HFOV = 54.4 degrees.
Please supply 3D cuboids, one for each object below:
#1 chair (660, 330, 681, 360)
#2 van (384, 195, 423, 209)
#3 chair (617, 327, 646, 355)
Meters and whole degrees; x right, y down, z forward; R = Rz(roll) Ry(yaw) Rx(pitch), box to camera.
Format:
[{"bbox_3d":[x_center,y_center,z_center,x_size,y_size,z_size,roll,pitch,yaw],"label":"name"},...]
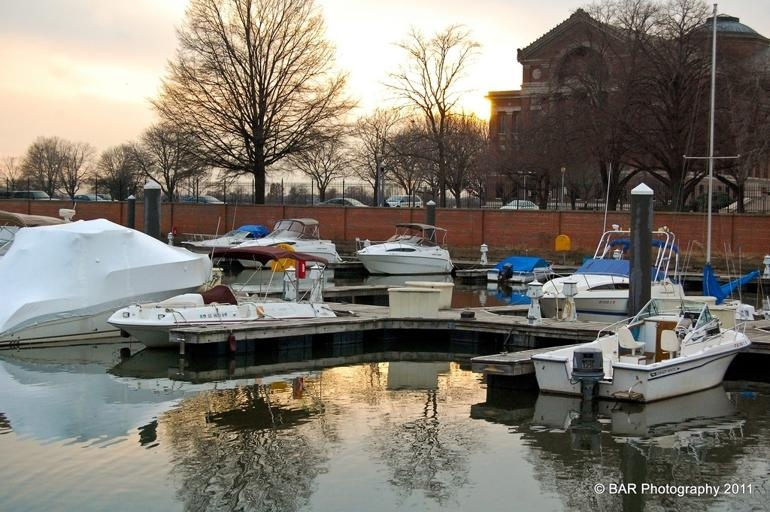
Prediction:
[{"bbox_3d":[6.998,2.142,18.359,0.472,0.786,0.676,6,12,20],"label":"chair"},{"bbox_3d":[1.609,-5.023,64.969,3.456,1.299,1.851,1,2,-11],"label":"van"},{"bbox_3d":[6.169,2.107,18.789,0.666,0.803,0.848,5,12,18],"label":"chair"}]
